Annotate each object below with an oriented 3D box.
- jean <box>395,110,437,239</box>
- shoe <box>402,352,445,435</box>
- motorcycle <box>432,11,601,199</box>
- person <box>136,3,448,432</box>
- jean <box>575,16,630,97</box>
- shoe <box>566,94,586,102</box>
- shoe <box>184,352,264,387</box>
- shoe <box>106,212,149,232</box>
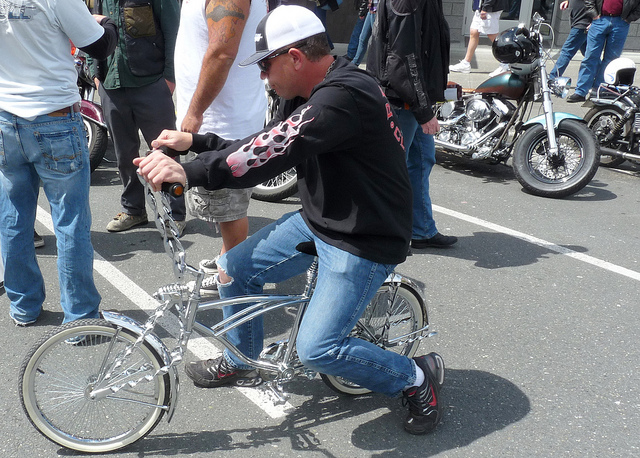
[{"bbox_3d":[0.885,-0.575,5.383,0.515,1.129,0.518,7,29,2],"label":"jean"},{"bbox_3d":[0.628,1.049,3.516,0.256,0.554,0.184,5,-5,-22],"label":"shoe"},{"bbox_3d":[2.449,-1.478,6.635,1.822,1.950,1.059,14,30,14],"label":"motorcycle"},{"bbox_3d":[0.021,0.048,3.126,1.565,2.229,0.906,15,30,15],"label":"person"},{"bbox_3d":[4.738,-2.869,9.437,0.563,1.505,0.423,19,-10,19],"label":"jean"},{"bbox_3d":[4.459,-2.213,9.614,0.375,0.161,0.140,8,11,14],"label":"shoe"},{"bbox_3d":[-0.627,0.930,3.748,0.522,0.250,0.208,8,4,0],"label":"shoe"},{"bbox_3d":[-1.949,-0.061,5.705,0.423,0.175,0.158,-7,17,-36],"label":"shoe"}]
